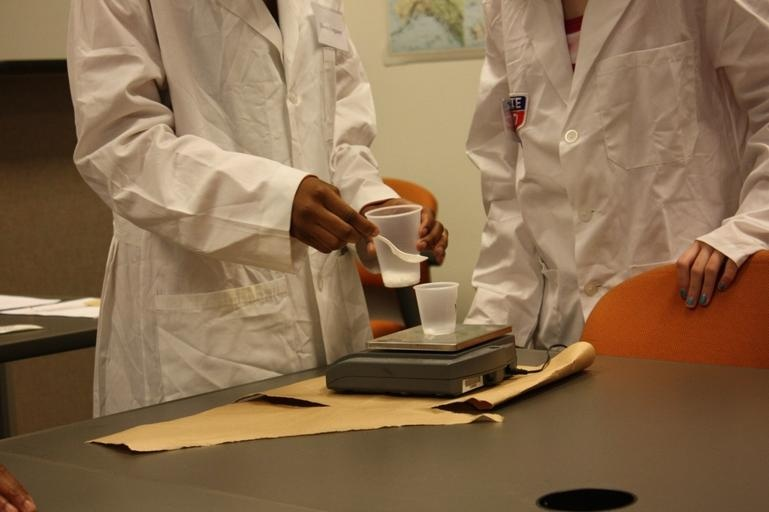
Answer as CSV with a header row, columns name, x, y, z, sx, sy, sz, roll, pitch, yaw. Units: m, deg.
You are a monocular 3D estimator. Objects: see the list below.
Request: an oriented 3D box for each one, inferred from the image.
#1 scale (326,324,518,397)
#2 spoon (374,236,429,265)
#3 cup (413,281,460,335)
name,x,y,z,sx,sy,sz,roll,pitch,yaw
scale,0.085,0.228,1.277,0.198,0.076,0.225,0,3,29
spoon,0.037,-0.017,1.429,0.022,0.026,0.148,-14,27,-40
cup,0.118,0.116,1.393,0.110,0.123,0.114,-3,8,0
